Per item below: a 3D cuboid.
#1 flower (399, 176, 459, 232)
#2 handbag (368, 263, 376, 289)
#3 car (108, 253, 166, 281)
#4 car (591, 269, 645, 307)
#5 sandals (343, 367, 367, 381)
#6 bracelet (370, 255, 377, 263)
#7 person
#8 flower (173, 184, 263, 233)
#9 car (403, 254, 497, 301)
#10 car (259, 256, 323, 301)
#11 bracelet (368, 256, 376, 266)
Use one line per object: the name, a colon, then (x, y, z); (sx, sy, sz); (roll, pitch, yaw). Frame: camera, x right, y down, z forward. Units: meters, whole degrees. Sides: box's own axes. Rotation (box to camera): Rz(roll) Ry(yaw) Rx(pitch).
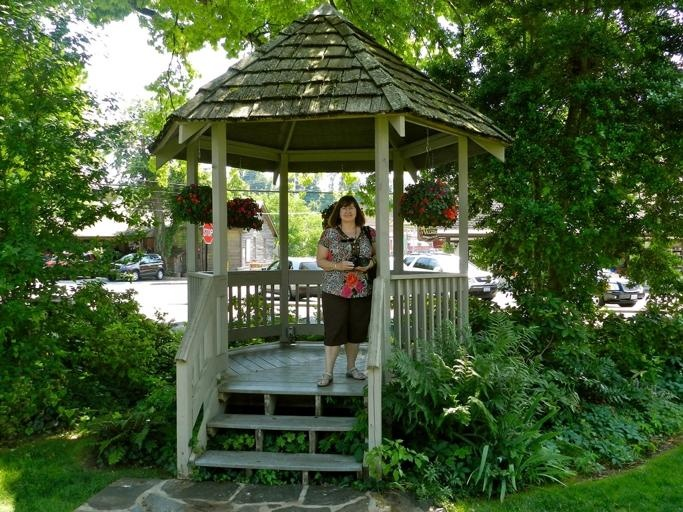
flower: (1.062, -0.640, 7.213); (0.587, 0.538, 0.601); (-2, 6, -26)
handbag: (0.356, 0.228, 6.846); (0.101, 0.278, 0.223); (0, -6, -2)
car: (-6.810, 0.423, 19.722); (1.151, 0.959, 2.004); (-4, -7, 25)
car: (6.490, 0.790, 13.693); (1.216, 0.664, 2.152); (0, -7, 5)
sandals: (0.181, 1.446, 7.137); (0.119, 0.103, 0.244); (1, -4, -30)
bracelet: (0.382, 0.031, 6.885); (0.064, 0.069, 0.017); (-3, -43, 4)
person: (0.055, 0.422, 6.927); (0.688, 2.232, 0.588); (0, -6, -2)
flower: (-1.665, -0.608, 7.525); (0.731, 0.409, 0.747); (3, 3, 7)
car: (3.566, 0.491, 18.216); (1.481, 1.227, 3.097); (-1, 1, -31)
car: (-1.133, 0.719, 16.883); (1.131, 0.930, 2.002); (-2, 6, -31)
bracelet: (0.372, 0.061, 6.879); (0.081, 0.032, 0.087); (-7, 29, 20)
